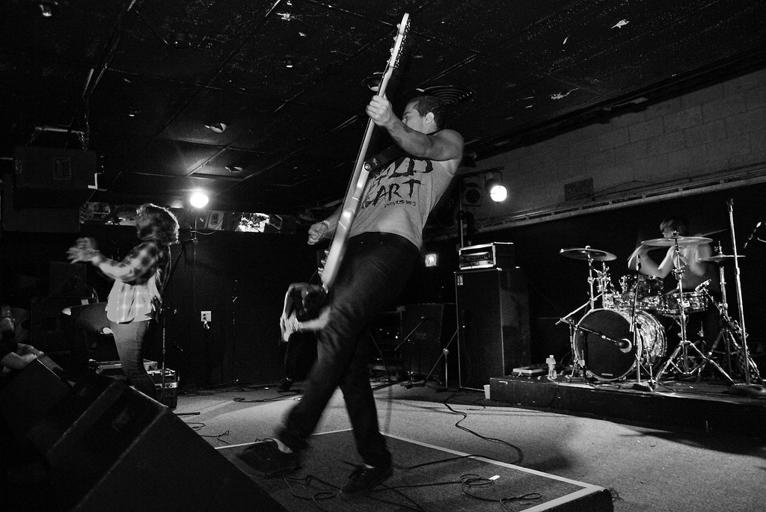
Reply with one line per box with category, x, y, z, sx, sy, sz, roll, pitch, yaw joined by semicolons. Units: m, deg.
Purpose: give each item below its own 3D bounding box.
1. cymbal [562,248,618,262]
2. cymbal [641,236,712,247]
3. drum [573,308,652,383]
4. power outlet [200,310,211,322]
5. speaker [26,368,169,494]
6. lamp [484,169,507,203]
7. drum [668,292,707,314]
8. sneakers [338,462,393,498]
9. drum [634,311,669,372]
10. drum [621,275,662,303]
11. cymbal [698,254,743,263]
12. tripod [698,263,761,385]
cymbal;2.506;-0.029;6.855;0.682;0.143;0.449;5;-4;-36
cymbal;3.199;-0.168;6.208;0.608;0.128;0.518;1;-4;16
drum;2.757;1.053;6.729;0.635;0.826;0.890;-1;-3;-35
power outlet;-3.119;1.078;9.936;0.204;0.196;0.081;4;-4;-29
speaker;-1.683;1.044;3.215;0.865;0.619;0.281;3;-37;49
lamp;1.777;-1.215;9.147;0.447;0.194;0.243;-40;28;-22
drum;3.402;0.533;6.305;0.393;0.248;0.427;2;-3;0
sneakers;-0.112;1.451;3.726;0.386;0.148;0.141;-20;-12;-27
drum;2.998;0.961;6.415;0.659;0.647;0.250;5;-4;-41
drum;2.992;0.388;6.527;0.397;0.285;0.330;1;-10;30
cymbal;3.740;0.028;6.250;0.286;0.092;0.289;-5;-5;42
tripod;3.908;0.700;6.299;0.499;1.378;1.304;1;-4;30
